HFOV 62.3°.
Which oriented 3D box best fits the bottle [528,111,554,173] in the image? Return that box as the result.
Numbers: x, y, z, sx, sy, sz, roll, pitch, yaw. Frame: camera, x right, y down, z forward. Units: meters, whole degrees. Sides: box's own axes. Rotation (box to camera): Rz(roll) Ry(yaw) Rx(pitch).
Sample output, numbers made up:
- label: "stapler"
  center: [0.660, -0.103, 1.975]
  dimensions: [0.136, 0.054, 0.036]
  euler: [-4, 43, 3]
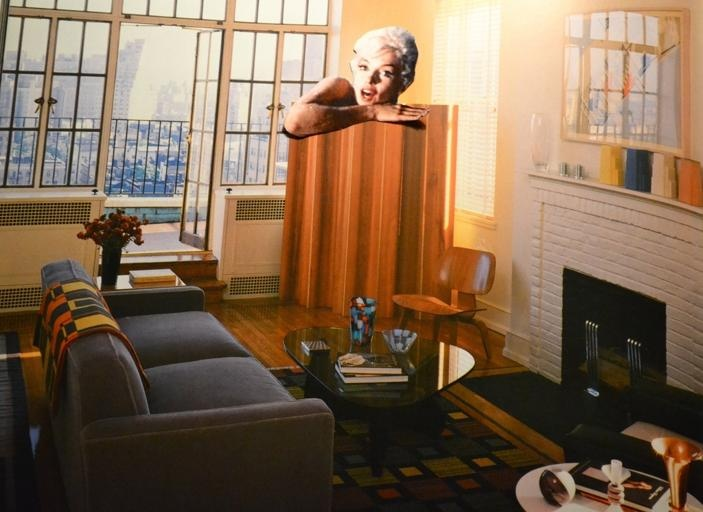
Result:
- label: "bottle"
  center: [1.398, -0.843, 4.278]
  dimensions: [0.156, 0.412, 0.122]
  euler: [5, 11, 16]

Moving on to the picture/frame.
- label: "picture/frame"
  center: [1.806, -1.130, 3.766]
  dimensions: [0.104, 0.943, 1.048]
  euler: [-1, 7, -22]

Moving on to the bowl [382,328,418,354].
- label: "bowl"
  center: [0.305, 0.509, 3.589]
  dimensions: [0.152, 0.069, 0.159]
  euler: [3, 5, 0]

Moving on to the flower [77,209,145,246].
- label: "flower"
  center: [-1.794, -0.171, 4.309]
  dimensions: [0.412, 0.307, 0.425]
  euler: [-12, 1, -17]

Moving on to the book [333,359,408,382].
- label: "book"
  center: [0.110, 0.651, 3.172]
  dimensions: [0.388, 0.073, 0.106]
  euler: [4, 12, 4]

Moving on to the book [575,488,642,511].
- label: "book"
  center: [0.963, 0.910, 2.154]
  dimensions: [0.116, 0.029, 0.116]
  euler: [12, -1, 20]
